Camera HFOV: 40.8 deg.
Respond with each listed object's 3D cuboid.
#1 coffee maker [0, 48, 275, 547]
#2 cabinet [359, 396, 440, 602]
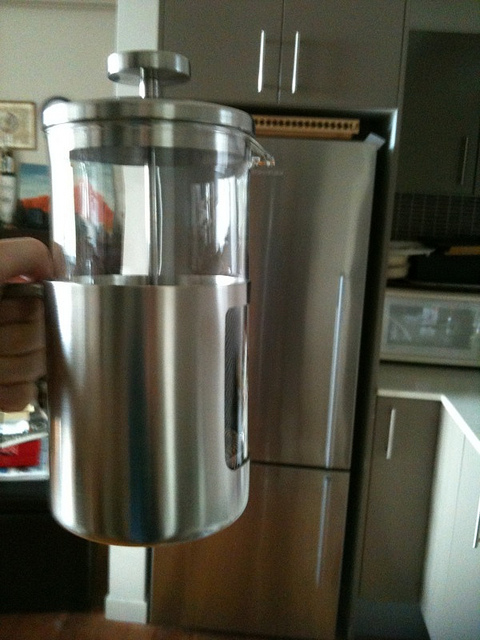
[{"bbox_3d":[-0.074,-0.025,0.497,0.204,0.343,0.167,1,12,-6],"label":"coffee maker"},{"bbox_3d":[0.465,0.510,1.813,0.213,0.634,0.163,1,-15,20],"label":"cabinet"}]
